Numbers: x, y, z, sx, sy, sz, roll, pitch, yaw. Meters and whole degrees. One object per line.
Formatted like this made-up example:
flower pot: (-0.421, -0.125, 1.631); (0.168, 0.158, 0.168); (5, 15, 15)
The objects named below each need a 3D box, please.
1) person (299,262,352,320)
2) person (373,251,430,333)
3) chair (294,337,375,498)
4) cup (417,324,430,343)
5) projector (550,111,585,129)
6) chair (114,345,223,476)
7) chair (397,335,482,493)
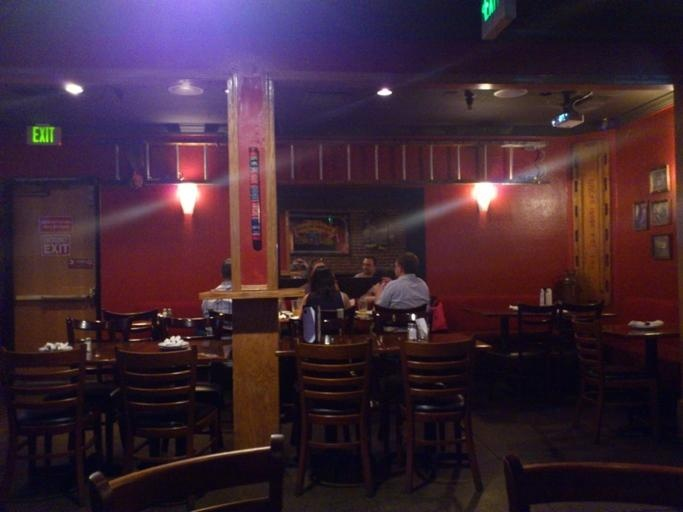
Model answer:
person: (-0.189, 0.494, 7.124); (0.641, 0.742, 0.393); (5, -15, -24)
person: (0.706, 0.599, 7.671); (0.582, 1.244, 0.620); (2, 5, -32)
chair: (-0.070, 1.300, 5.931); (0.681, 1.326, 1.089); (-1, 9, 0)
cup: (0.757, 0.726, 6.157); (0.120, 0.227, 0.122); (1, -10, 0)
projector: (2.729, -1.686, 7.950); (0.232, 0.167, 0.367); (-3, 10, -12)
chair: (-1.466, 1.324, 5.653); (0.762, 1.179, 0.806); (-1, 6, -15)
chair: (0.891, 1.314, 5.928); (0.715, 1.364, 1.053); (0, 9, 6)
